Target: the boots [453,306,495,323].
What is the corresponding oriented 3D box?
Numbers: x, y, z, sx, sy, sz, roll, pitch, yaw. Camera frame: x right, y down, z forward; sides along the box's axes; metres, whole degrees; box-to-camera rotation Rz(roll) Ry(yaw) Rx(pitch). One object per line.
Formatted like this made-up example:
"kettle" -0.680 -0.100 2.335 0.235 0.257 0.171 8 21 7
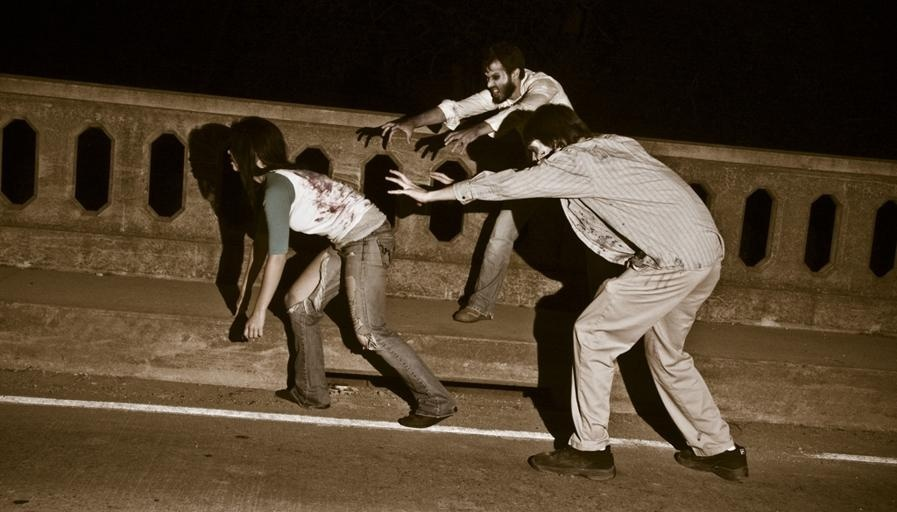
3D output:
"boots" 0.368 0.816 15.344 0.480 0.149 0.230 6 4 -6
